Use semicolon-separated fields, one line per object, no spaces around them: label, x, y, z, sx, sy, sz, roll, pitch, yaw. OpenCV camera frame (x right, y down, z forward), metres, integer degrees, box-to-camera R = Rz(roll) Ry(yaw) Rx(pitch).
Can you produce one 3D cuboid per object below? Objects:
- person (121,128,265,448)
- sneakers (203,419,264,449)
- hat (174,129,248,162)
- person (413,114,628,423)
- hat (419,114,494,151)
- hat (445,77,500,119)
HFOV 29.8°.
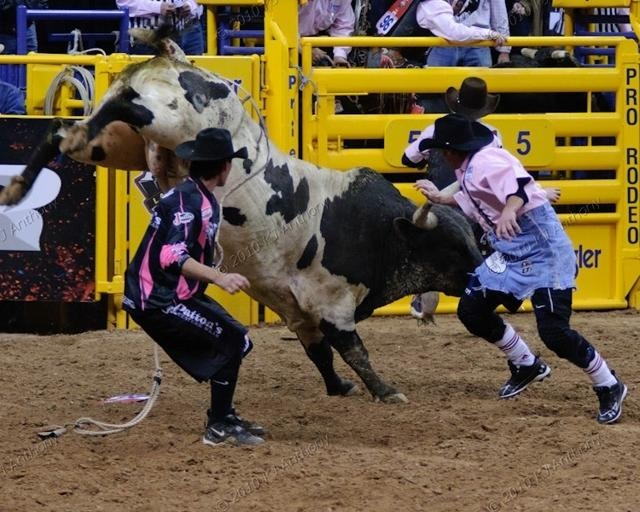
person;-0.731;0.201;7.309;0.883;1.961;0.627;4;7;-9
sneakers;-0.553;1.115;7.475;0.446;0.143;0.137;2;4;-4
hat;-0.673;-0.667;7.233;0.331;0.100;0.273;-12;22;-40
person;1.356;0.059;7.921;1.536;1.938;0.803;5;7;3
hat;0.882;-0.807;7.847;0.374;0.128;0.268;4;36;34
hat;1.105;-1.166;8.750;0.400;0.152;0.426;2;33;0
